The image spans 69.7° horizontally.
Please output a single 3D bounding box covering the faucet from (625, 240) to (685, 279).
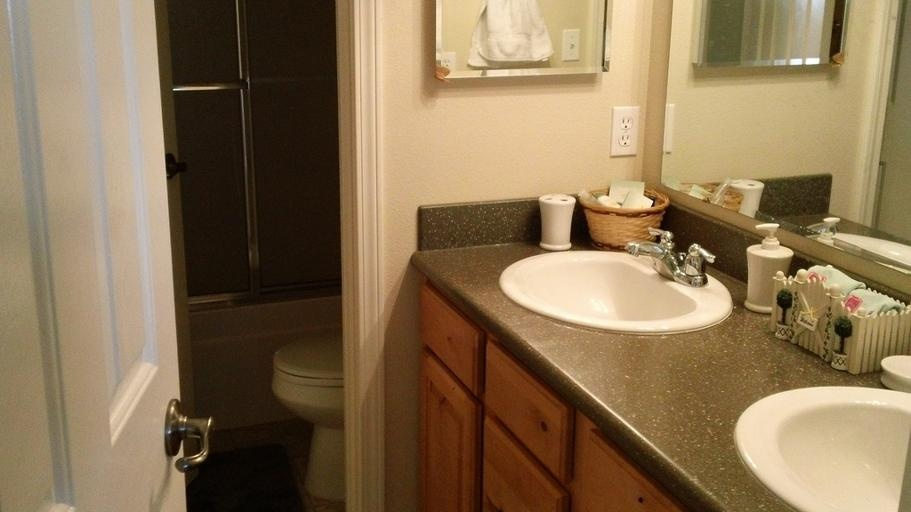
[{"bbox_3d":[0.547,-0.014,1.854,0.065,0.065,0.193,-27,44,-33],"label":"faucet"}]

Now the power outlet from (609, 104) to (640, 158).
[{"bbox_3d":[0.567,-0.419,2.197,0.114,0.163,0.029,-12,23,-23],"label":"power outlet"}]

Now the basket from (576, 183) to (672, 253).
[{"bbox_3d":[0.517,-0.126,2.087,0.227,0.114,0.224,-2,10,-9],"label":"basket"}]
